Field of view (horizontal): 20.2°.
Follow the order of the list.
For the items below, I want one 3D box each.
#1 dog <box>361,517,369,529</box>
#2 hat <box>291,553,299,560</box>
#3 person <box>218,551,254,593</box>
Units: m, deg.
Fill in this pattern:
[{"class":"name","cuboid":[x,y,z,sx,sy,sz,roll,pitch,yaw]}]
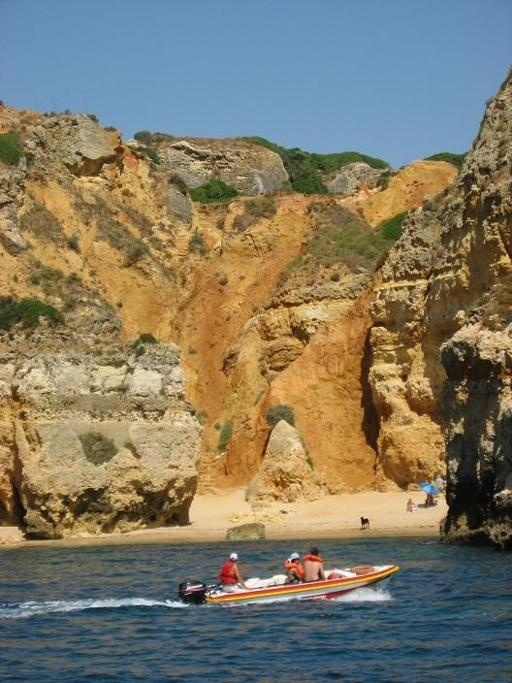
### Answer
[{"class":"dog","cuboid":[3.559,5.959,46.862,0.293,0.348,0.875,-1,3,3]},{"class":"hat","cuboid":[0.923,5.231,34.744,0.195,0.145,0.437,-1,3,3]},{"class":"person","cuboid":[-0.524,5.579,34.770,0.593,0.951,0.781,-3,3,-29]}]
